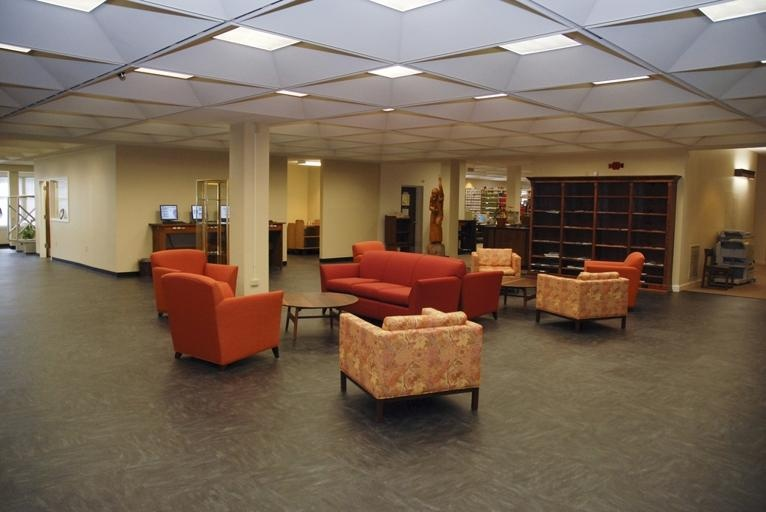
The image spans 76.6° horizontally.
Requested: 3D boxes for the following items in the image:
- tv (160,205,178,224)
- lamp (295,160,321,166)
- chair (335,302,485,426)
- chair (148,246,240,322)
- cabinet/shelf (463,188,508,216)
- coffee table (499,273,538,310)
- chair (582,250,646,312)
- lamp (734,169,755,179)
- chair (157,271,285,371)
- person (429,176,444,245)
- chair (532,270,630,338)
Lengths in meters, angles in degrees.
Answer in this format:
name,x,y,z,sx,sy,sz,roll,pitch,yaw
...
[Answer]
name,x,y,z,sx,sy,sz,roll,pitch,yaw
tv,-6.427,-1.228,14.505,0.677,0.548,0.346,0,-1,-38
lamp,-3.062,-3.815,20.163,0.818,0.203,3.573,-1,10,-9
chair,0.279,1.278,6.253,1.703,1.035,1.507,2,0,-14
chair,-3.696,0.452,9.327,1.194,0.932,1.307,12,11,29
cabinet/shelf,5.804,-3.148,27.550,2.040,1.275,3.092,-2,10,-11
coffee table,3.010,0.741,10.877,0.837,0.448,1.031,2,6,25
chair,5.230,0.454,11.113,1.604,1.069,1.455,-3,9,-23
lamp,11.942,-2.704,16.018,1.947,0.336,0.132,-7,14,-39
chair,-2.455,0.947,7.355,1.640,1.220,1.567,3,3,15
person,1.944,-1.512,17.496,0.422,2.327,0.556,3,13,14
chair,3.880,0.817,9.544,1.303,0.921,1.146,0,4,-25
